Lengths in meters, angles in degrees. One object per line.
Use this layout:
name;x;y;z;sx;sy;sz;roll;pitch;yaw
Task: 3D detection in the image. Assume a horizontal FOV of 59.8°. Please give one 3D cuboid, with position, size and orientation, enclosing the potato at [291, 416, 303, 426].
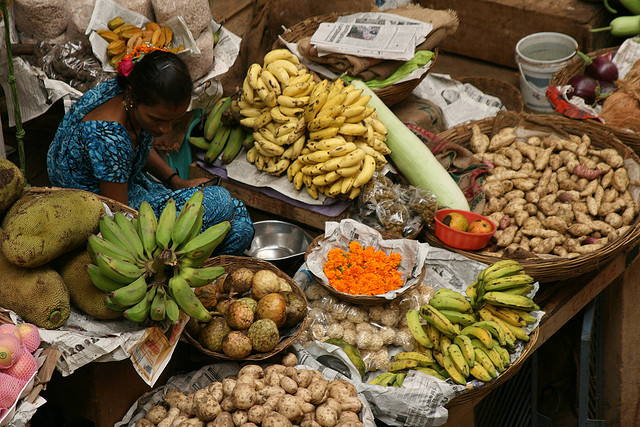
potato;-0.122;1.140;3.053;0.049;0.021;0.051;34;87;-22

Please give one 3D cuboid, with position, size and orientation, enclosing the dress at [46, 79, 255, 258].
dress;-1.152;-0.221;3.989;1.335;1.178;1.022;14;22;1

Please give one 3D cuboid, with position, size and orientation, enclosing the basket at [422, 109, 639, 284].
basket;1.845;0.010;4.993;1.400;0.479;1.546;16;50;21

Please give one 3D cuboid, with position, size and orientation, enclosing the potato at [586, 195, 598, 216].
potato;2.048;-0.054;4.207;0.061;0.042;0.135;-5;59;-1

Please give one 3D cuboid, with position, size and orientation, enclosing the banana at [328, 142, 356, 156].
banana;0.168;-0.480;4.120;0.175;0.064;0.093;-22;51;-20

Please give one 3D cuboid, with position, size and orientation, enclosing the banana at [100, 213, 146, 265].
banana;-1.053;0.150;2.973;0.248;0.067;0.087;52;23;-1

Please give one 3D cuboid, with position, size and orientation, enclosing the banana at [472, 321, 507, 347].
banana;1.039;0.709;3.474;0.140;0.070;0.254;53;26;20

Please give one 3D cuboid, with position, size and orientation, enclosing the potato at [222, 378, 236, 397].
potato;-0.513;0.976;3.123;0.060;0.049;0.091;-8;86;-7

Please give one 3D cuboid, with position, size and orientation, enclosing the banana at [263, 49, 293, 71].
banana;-0.356;-1.297;4.608;0.184;0.057;0.228;31;55;4

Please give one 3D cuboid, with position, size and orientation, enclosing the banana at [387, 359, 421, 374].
banana;0.522;0.945;3.497;0.248;0.093;0.079;-6;52;3

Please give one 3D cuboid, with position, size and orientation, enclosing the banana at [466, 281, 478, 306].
banana;1.002;0.527;3.658;0.057;0.055;0.170;6;51;-9

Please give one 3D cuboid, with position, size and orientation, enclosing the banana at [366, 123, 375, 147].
banana;0.399;-0.590;4.329;0.049;0.061;0.210;-4;88;-21

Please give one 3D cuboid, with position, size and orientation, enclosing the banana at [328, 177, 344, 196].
banana;0.129;-0.194;4.195;0.053;0.063;0.200;26;78;17

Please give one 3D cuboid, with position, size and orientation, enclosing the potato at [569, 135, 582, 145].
potato;2.098;-0.601;4.565;0.051;0.029;0.093;-45;61;17

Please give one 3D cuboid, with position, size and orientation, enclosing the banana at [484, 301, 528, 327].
banana;1.186;0.640;3.511;0.189;0.065;0.056;33;81;7

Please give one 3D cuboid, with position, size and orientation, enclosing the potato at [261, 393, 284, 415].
potato;-0.269;1.044;3.055;0.057;0.039;0.116;24;65;32

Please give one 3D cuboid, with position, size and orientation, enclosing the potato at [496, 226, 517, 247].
potato;1.373;0.164;4.122;0.086;0.065;0.189;12;52;38

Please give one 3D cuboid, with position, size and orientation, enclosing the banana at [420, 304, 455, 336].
banana;0.748;0.668;3.460;0.281;0.090;0.094;42;44;-17

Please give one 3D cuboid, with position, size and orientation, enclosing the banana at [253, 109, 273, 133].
banana;-0.438;-0.713;4.402;0.088;0.062;0.193;41;88;15

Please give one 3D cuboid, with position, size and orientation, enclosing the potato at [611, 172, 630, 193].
potato;2.291;-0.239;4.248;0.102;0.081;0.158;-8;83;4

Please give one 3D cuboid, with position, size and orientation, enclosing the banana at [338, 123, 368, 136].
banana;0.247;-0.624;4.227;0.261;0.096;0.087;1;40;-5

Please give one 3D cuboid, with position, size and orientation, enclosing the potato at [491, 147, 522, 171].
potato;1.596;-0.470;4.609;0.151;0.077;0.261;-35;43;-12

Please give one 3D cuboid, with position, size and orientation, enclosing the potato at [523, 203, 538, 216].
potato;1.629;-0.030;4.300;0.078;0.047;0.092;11;79;5

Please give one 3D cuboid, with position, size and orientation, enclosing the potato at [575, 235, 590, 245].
potato;1.927;0.204;4.081;0.052;0.020;0.059;19;79;-6

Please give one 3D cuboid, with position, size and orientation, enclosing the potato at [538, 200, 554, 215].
potato;1.740;-0.047;4.280;0.077;0.059;0.111;-17;53;-27

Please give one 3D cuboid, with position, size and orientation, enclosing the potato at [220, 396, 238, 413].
potato;-0.502;1.056;3.072;0.067;0.045;0.086;-7;76;7

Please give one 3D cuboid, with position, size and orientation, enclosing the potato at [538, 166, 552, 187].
potato;1.799;-0.287;4.449;0.061;0.060;0.222;22;64;47

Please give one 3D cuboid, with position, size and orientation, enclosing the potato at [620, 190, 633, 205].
potato;2.320;-0.122;4.211;0.059;0.024;0.105;0;41;13

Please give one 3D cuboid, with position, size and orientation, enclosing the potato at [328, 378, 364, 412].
potato;0.153;1.028;3.144;0.173;0.070;0.127;42;44;23

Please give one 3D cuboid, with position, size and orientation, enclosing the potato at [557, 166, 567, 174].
potato;1.930;-0.345;4.436;0.105;0.036;0.030;-31;43;-29

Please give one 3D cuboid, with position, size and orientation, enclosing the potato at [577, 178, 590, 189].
potato;2.060;-0.225;4.349;0.045;0.038;0.100;-7;18;16

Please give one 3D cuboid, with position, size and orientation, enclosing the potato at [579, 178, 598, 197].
potato;2.076;-0.184;4.298;0.079;0.076;0.255;18;48;29

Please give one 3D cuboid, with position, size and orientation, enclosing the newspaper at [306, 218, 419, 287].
newspaper;0.356;0.232;3.775;0.495;0.203;0.487;14;39;2

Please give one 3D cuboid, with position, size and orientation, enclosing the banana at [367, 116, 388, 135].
banana;0.449;-0.688;4.419;0.182;0.055;0.064;38;45;0

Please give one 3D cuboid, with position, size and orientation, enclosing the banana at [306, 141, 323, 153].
banana;-0.060;-0.495;4.194;0.074;0.064;0.051;0;82;20

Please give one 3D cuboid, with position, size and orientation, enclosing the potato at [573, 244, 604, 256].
potato;1.929;0.253;3.975;0.145;0.050;0.093;-18;11;-4

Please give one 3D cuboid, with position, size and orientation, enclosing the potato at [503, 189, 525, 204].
potato;1.533;-0.140;4.401;0.145;0.084;0.079;-17;44;8

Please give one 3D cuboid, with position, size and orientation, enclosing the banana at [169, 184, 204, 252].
banana;-0.732;0.028;3.079;0.090;0.066;0.413;32;79;-25

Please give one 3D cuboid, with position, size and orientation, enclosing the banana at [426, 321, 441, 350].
banana;0.704;0.770;3.524;0.049;0.066;0.210;-4;64;-14

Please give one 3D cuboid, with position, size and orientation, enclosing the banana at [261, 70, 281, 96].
banana;-0.384;-1.027;4.390;0.082;0.086;0.271;-31;68;11

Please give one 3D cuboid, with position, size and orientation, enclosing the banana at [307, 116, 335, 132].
banana;0.006;-0.661;4.183;0.200;0.071;0.092;-21;73;26

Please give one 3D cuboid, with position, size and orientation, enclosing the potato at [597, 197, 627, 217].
potato;2.192;-0.042;4.177;0.180;0.075;0.123;-35;43;12

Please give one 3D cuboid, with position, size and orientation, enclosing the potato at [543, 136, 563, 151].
potato;1.921;-0.590;4.577;0.154;0.058;0.092;15;60;35

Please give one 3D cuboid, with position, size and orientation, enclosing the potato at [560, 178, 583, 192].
potato;1.956;-0.213;4.315;0.132;0.050;0.078;19;71;19
